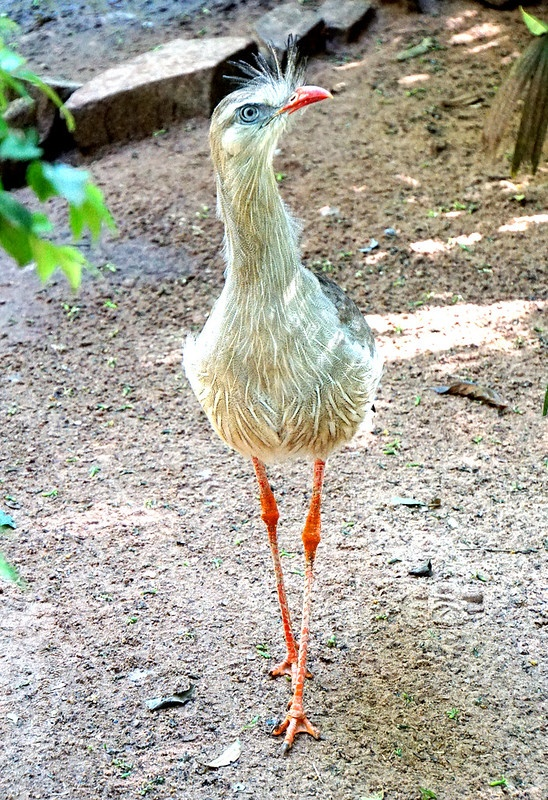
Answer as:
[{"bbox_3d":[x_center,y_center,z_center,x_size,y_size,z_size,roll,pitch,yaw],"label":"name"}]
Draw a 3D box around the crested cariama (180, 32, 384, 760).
[{"bbox_3d":[0.012,0.034,3.309,0.613,2.131,1.242,6,42,19],"label":"crested cariama"}]
